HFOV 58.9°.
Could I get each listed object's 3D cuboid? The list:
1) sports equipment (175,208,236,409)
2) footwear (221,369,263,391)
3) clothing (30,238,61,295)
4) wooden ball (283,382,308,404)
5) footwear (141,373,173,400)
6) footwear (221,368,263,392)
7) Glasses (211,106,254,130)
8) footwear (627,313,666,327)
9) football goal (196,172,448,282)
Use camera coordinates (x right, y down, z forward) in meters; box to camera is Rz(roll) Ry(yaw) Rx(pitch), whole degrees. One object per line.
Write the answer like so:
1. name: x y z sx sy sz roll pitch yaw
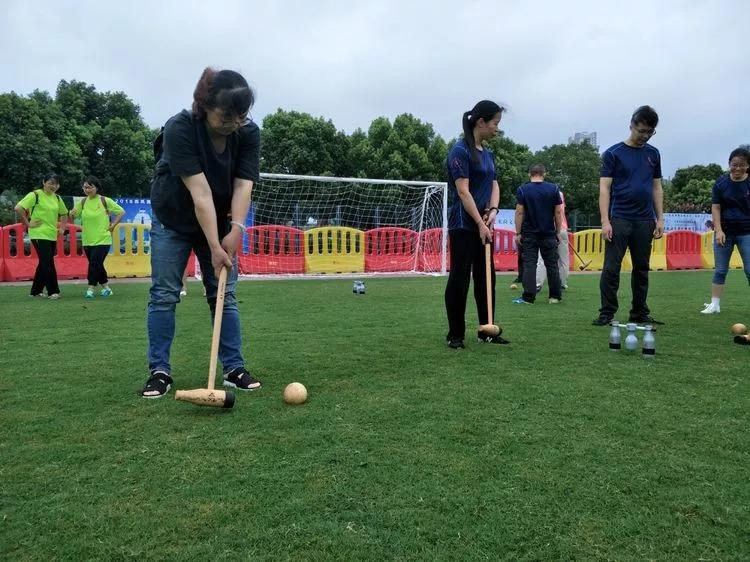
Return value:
1. sports equipment: -0.975 0.268 4.050 0.382 0.877 0.402 -3 10 -28
2. footwear: -0.886 0.661 4.447 0.265 0.113 0.117 0 -2 33
3. clothing: -4.738 -0.192 9.458 0.393 0.880 0.877 -6 13 -26
4. wooden ball: -0.490 0.691 4.095 0.150 0.098 0.153 0 12 0
5. footwear: -1.396 0.661 4.232 0.184 0.132 0.247 -4 12 -18
6. footwear: -0.891 0.665 4.444 0.269 0.120 0.118 -1 -3 33
7. Glasses: -0.927 -0.996 4.112 0.233 0.144 0.125 9 15 39
8. footwear: 2.714 0.393 6.667 0.307 0.131 0.119 0 -4 20
9. football goal: -0.906 -1.255 16.737 5.448 2.232 1.544 -2 -2 -27
